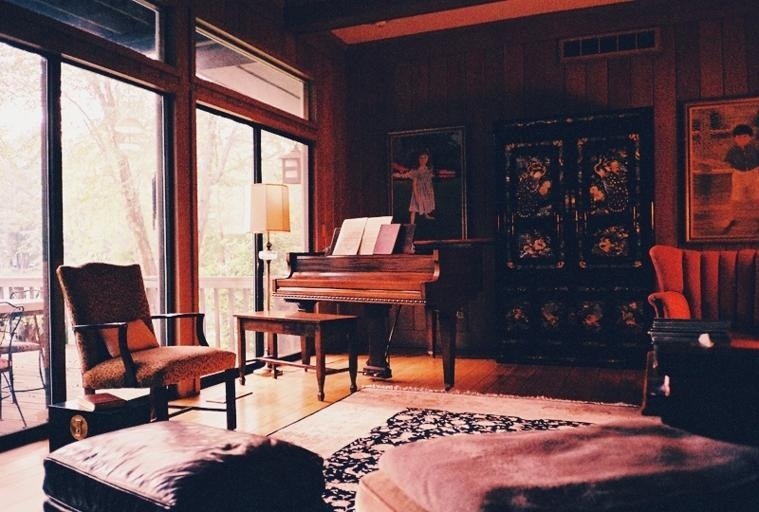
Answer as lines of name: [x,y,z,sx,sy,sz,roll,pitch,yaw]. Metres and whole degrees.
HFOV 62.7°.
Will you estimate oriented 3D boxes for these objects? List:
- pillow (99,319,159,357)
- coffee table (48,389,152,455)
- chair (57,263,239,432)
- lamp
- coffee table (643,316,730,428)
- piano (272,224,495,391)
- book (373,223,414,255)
pillow: [-1.808,0.594,4.530,0.107,0.215,0.363,-31,-11,24]
coffee table: [-1.743,1.166,4.070,0.541,0.434,0.521,-8,-20,26]
chair: [-1.651,0.661,4.500,1.035,1.189,0.938,-1,0,32]
lamp: [-1.076,0.205,6.076,0.468,1.746,0.429,-1,0,-26]
coffee table: [1.717,0.614,3.735,0.635,0.541,0.345,4,2,-21]
piano: [0.164,0.499,6.135,1.791,1.197,1.557,-1,4,44]
book: [0.124,-0.154,5.683,0.352,0.280,0.079,5,-12,13]
